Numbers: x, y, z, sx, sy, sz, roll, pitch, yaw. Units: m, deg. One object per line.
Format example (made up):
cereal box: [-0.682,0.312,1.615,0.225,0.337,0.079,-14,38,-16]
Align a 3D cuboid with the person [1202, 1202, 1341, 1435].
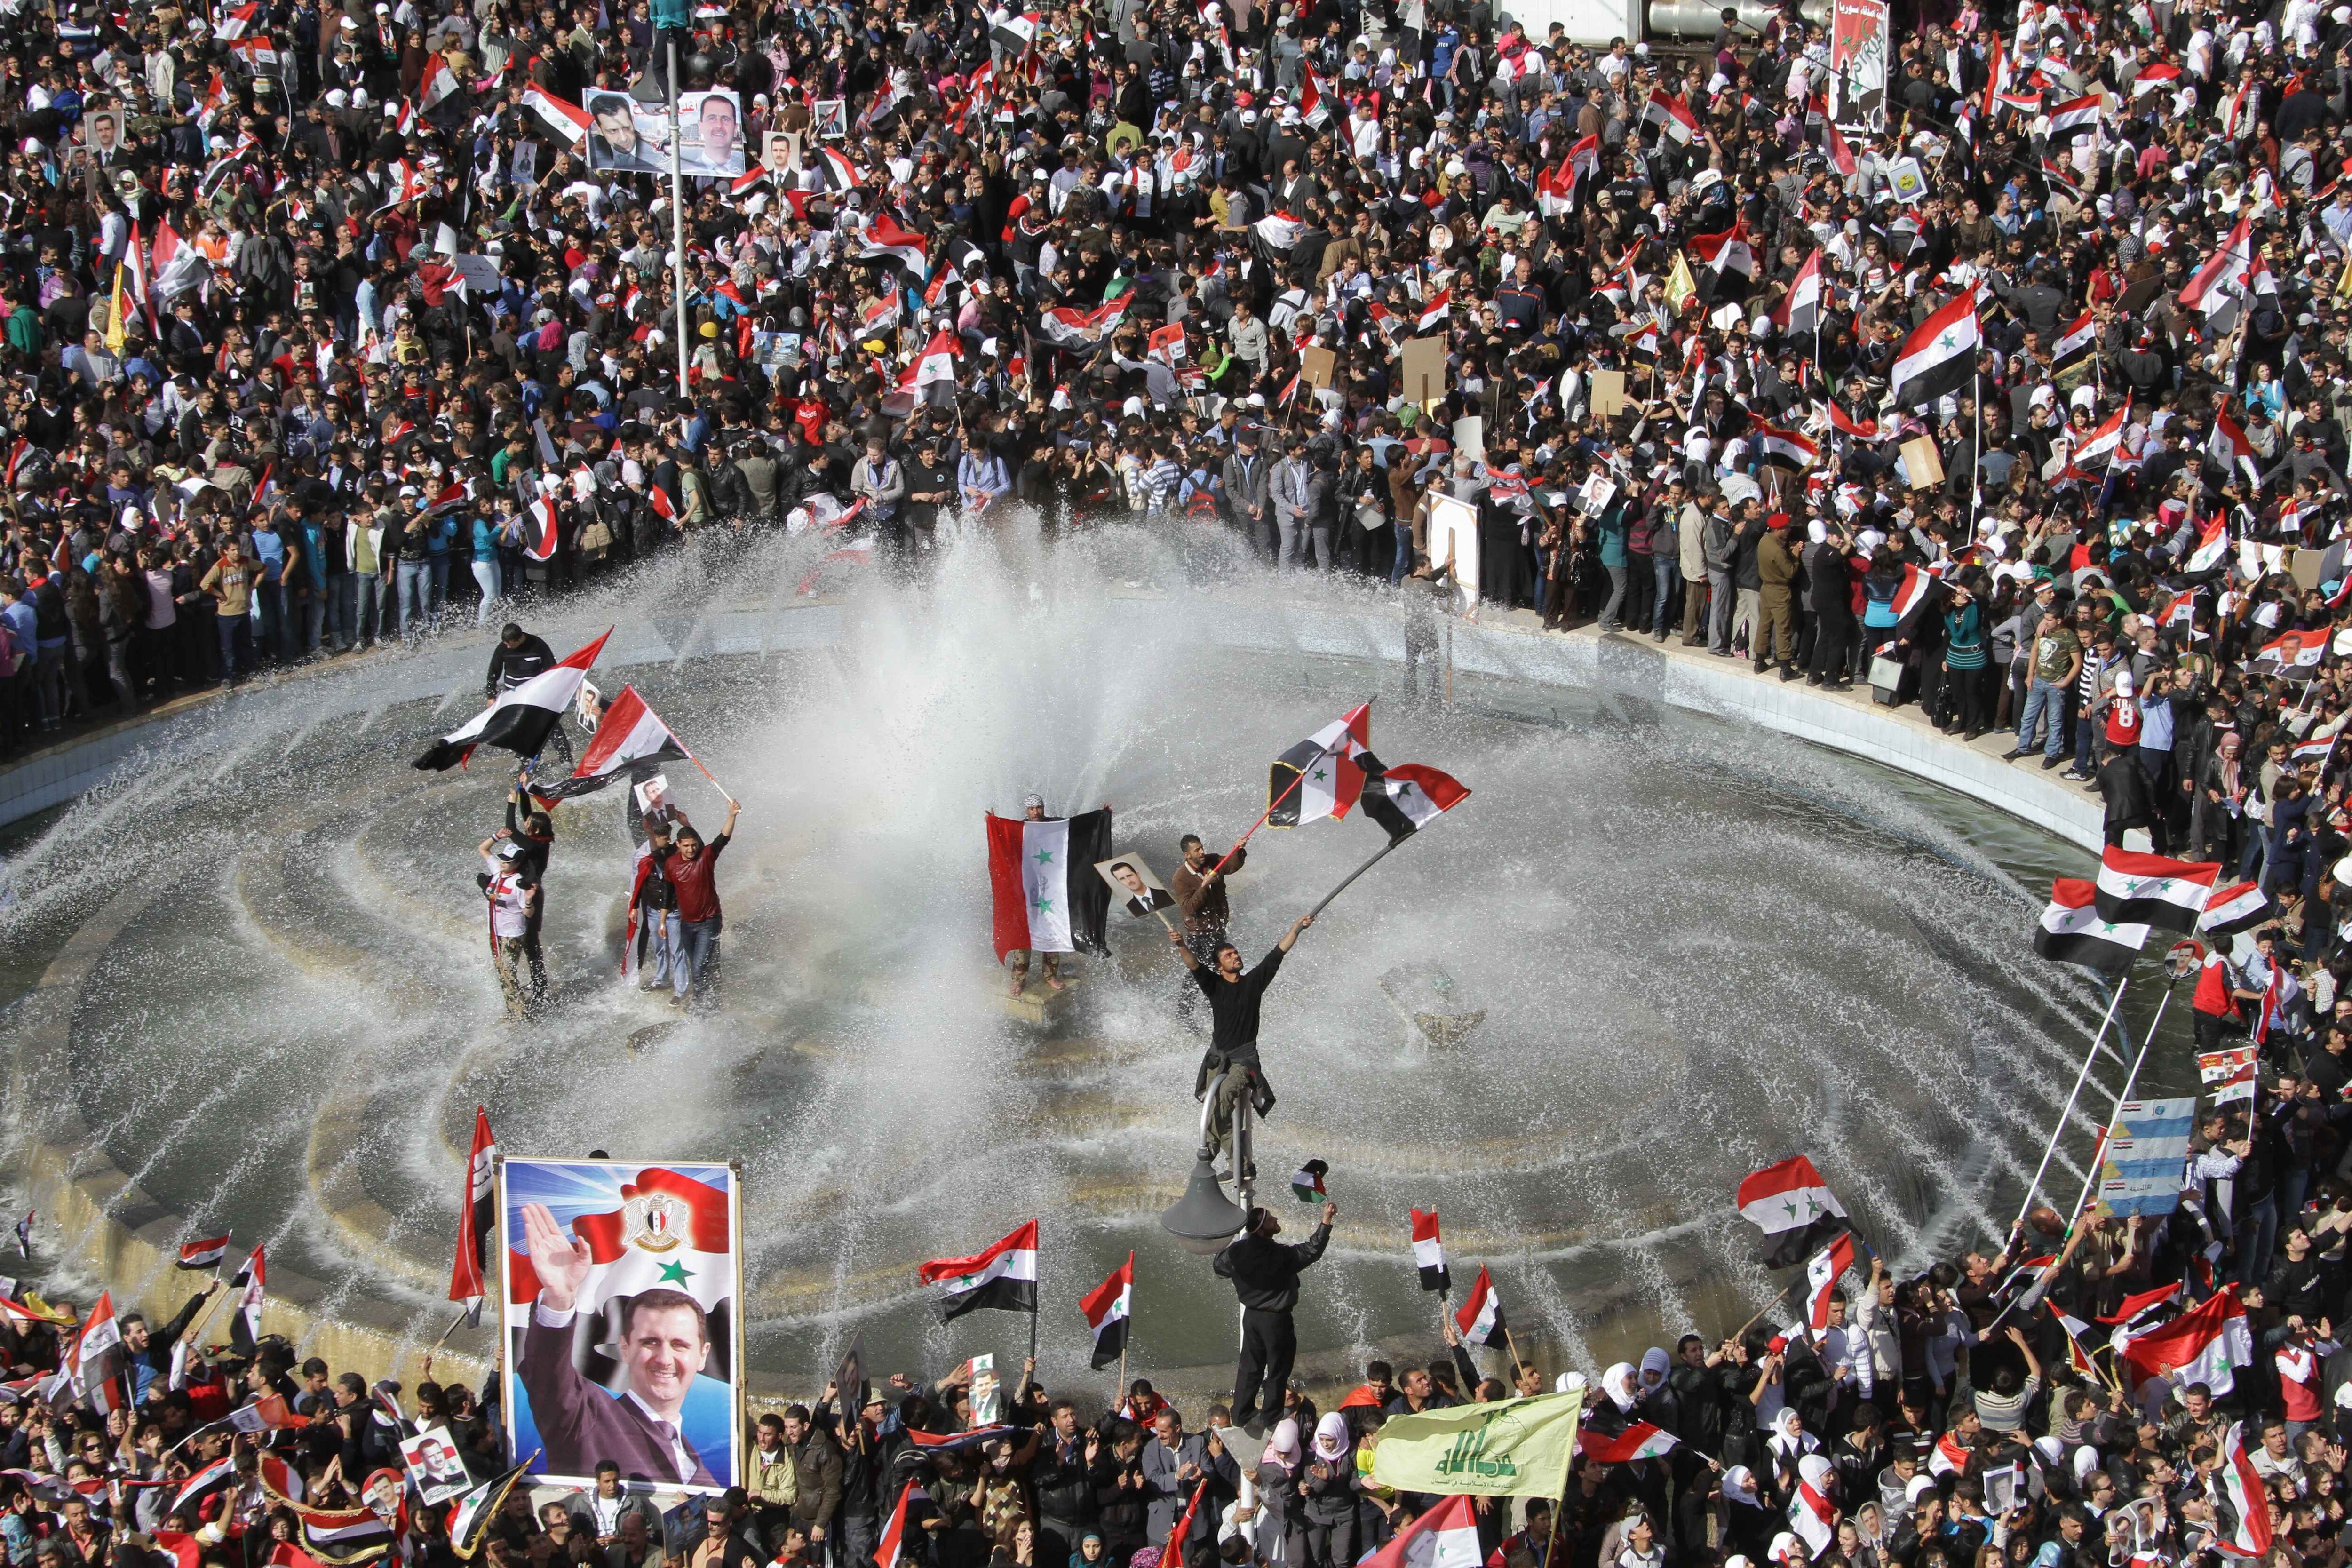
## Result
person: [0.967,5.342,33.997,1.244,0.804,2.183,-1,87,-4]

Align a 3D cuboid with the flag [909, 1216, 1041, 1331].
flag: [-2.031,5.002,34.232,1.412,1.684,0.283,4,40,-3]

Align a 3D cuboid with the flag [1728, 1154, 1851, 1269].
flag: [6.221,4.380,34.310,1.040,0.171,0.900,41,85,-2]

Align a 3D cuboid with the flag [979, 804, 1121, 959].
flag: [-1.406,1.196,38.335,1.321,1.950,1.061,-3,59,-2]

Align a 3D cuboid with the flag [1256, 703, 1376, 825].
flag: [1.651,-0.173,39.891,1.236,0.333,1.634,24,80,54]
